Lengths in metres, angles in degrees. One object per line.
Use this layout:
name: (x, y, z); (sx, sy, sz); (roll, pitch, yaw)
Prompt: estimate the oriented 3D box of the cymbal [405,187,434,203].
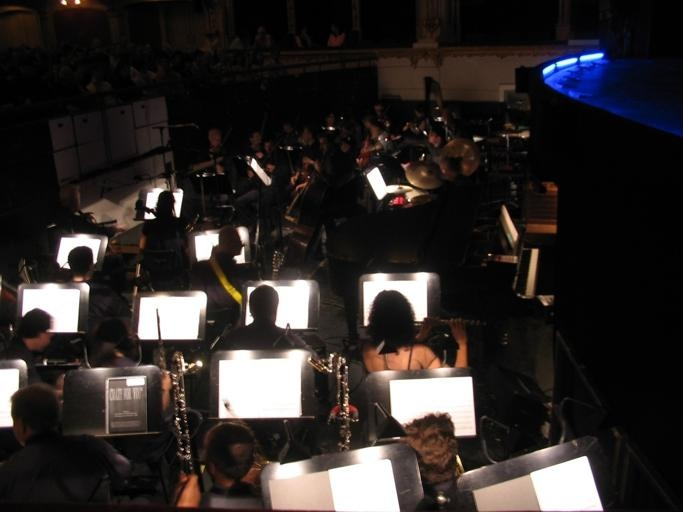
cymbal: (1.132, -0.846, 8.999); (0.322, 0.074, 0.317); (-4, 25, -8)
